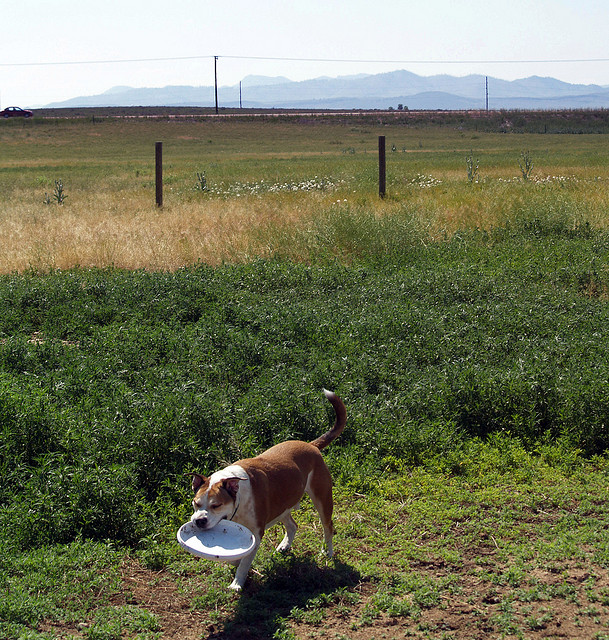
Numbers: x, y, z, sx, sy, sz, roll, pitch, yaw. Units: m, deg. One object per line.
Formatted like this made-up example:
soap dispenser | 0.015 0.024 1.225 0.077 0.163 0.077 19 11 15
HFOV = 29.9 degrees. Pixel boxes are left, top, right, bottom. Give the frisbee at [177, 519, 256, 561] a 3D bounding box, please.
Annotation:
frisbee | -0.813 1.900 9.969 0.651 0.092 0.659 -3 18 -37
